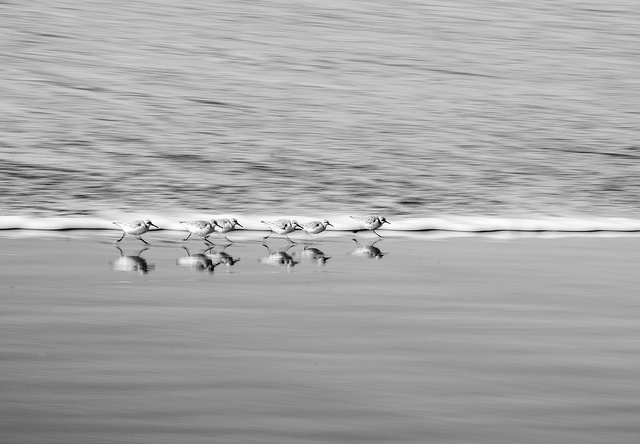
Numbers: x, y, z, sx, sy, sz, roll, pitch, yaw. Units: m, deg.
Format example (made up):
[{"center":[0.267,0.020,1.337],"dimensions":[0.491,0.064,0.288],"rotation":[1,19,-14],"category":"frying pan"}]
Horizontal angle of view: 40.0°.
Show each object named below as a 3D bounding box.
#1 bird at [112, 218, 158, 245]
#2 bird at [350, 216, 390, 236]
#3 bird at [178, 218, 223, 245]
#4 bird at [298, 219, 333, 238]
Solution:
[{"center":[-2.623,0.103,12.331],"dimensions":[0.503,0.336,0.573],"rotation":[4,12,-9],"category":"bird"},{"center":[0.737,0.022,13.572],"dimensions":[0.413,0.268,0.607],"rotation":[4,11,-5],"category":"bird"},{"center":[-1.689,0.117,12.512],"dimensions":[0.567,0.339,0.514],"rotation":[6,13,2],"category":"bird"},{"center":[-0.105,0.086,12.824],"dimensions":[0.415,0.194,0.204],"rotation":[4,15,-1],"category":"bird"}]
